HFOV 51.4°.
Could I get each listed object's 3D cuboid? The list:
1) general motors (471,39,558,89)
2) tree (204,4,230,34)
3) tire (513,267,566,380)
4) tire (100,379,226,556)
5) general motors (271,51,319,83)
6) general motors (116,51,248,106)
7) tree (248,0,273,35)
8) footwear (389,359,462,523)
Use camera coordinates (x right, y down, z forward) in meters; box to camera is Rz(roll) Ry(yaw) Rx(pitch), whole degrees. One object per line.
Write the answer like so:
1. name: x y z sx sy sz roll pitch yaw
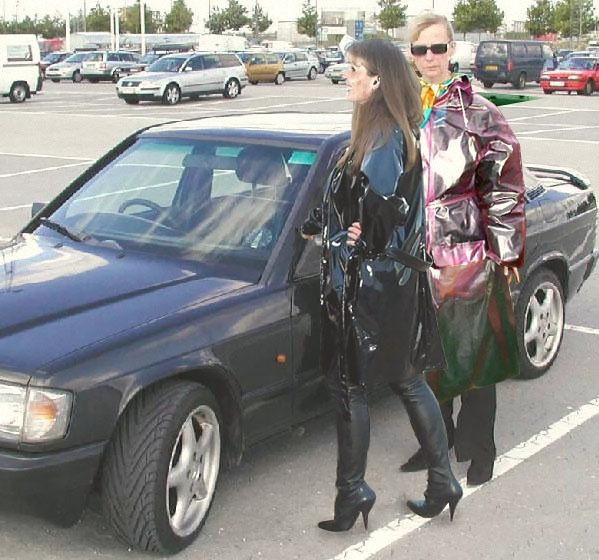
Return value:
1. general motors: 11.742 -12.140 35.164 2.516 2.187 4.183 14 28 40
2. tree: -11.587 -36.786 88.117 2.784 4.748 7.719 -2 12 -15
3. tire: 1.493 0.262 3.929 0.193 0.614 0.560 8 -7 37
4. tire: -0.461 0.670 2.251 0.178 0.634 0.525 7 12 29
5. general motors: -0.270 -14.459 42.116 1.813 1.604 3.482 17 25 40
6. general motors: -5.029 -8.964 27.348 1.664 2.638 6.083 9 14 36
7. tree: -5.705 -36.378 87.192 2.536 4.631 7.293 0 12 -4
8. footwear: 0.498 0.642 2.465 0.269 0.676 0.136 5 22 28
